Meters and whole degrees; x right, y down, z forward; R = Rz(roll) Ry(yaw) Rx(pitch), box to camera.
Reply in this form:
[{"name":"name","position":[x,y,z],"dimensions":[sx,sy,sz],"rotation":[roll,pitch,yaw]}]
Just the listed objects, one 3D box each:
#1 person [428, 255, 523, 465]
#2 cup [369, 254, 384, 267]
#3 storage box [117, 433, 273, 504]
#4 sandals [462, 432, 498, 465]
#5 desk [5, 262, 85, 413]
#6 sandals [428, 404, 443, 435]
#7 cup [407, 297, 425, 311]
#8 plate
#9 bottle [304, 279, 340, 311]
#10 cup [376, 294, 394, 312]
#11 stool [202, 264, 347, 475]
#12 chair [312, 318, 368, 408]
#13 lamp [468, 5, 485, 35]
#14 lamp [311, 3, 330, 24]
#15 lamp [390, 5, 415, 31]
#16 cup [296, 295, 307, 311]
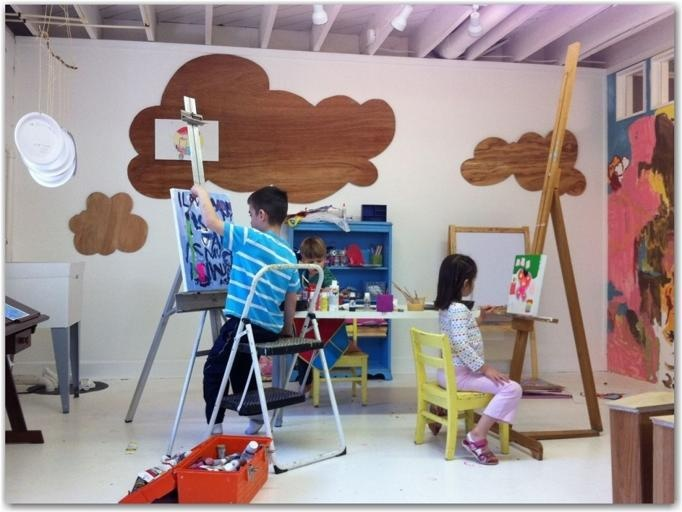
[{"name":"person","position":[0.935,0.689,3.952],"dimensions":[0.313,1.376,0.581],"rotation":[-2,5,-31]},{"name":"cup","position":[0.367,0.057,5.923],"dimensions":[0.110,0.151,0.148],"rotation":[3,-7,-16]},{"name":"storage box","position":[-0.798,1.265,3.254],"dimensions":[0.520,0.180,0.401],"rotation":[0,4,8]},{"name":"sandals","position":[0.933,1.310,3.843],"dimensions":[0.136,0.113,0.251],"rotation":[5,10,-40]},{"name":"desk","position":[-2.487,0.659,4.934],"dimensions":[0.594,1.225,0.691],"rotation":[1,4,6]},{"name":"sandals","position":[0.663,1.209,4.156],"dimensions":[0.082,0.178,0.257],"rotation":[3,-1,-2]},{"name":"cup","position":[0.599,0.390,4.523],"dimensions":[0.102,0.074,0.105],"rotation":[0,-7,0]},{"name":"plate","position":[-2.387,-0.851,4.559],"dimensions":[0.418,0.557,0.233],"rotation":[-2,5,-31]},{"name":"bottle","position":[-0.159,0.322,4.478],"dimensions":[0.238,0.236,0.093],"rotation":[1,-6,-19]},{"name":"cup","position":[0.334,0.367,4.475],"dimensions":[0.151,0.156,0.113],"rotation":[1,4,-2]},{"name":"stool","position":[-0.413,0.698,3.910],"dimensions":[0.889,1.323,1.085],"rotation":[3,5,26]},{"name":"chair","position":[0.087,1.002,5.261],"dimensions":[0.595,1.153,0.652],"rotation":[1,-7,2]},{"name":"lamp","position":[1.257,-2.196,5.267],"dimensions":[0.136,0.258,0.370],"rotation":[2,4,13]},{"name":"lamp","position":[-0.197,-2.175,5.109],"dimensions":[0.151,0.174,0.153],"rotation":[-4,10,-14]},{"name":"lamp","position":[0.542,-2.169,5.148],"dimensions":[0.161,0.198,0.186],"rotation":[1,4,1]},{"name":"cup","position":[-0.310,0.366,4.384],"dimensions":[0.082,0.085,0.123],"rotation":[0,2,0]}]
